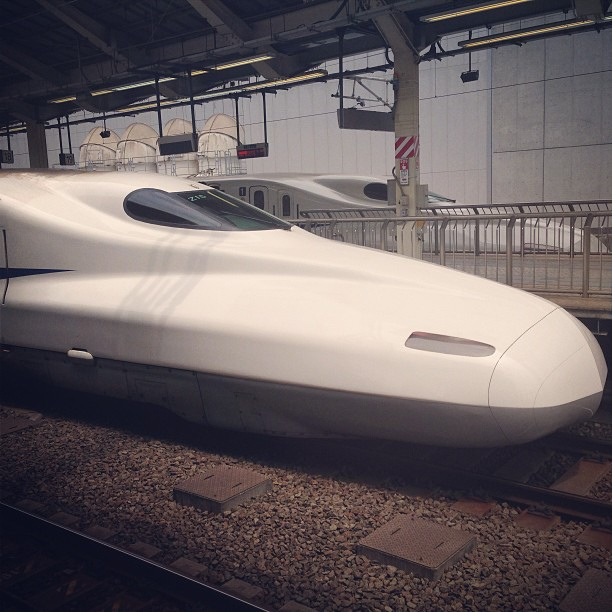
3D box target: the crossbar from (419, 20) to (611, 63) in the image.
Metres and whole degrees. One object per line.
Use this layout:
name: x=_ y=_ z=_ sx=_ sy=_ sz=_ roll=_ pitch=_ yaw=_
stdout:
crossbar: x=3.924 y=-4.850 z=11.403 sx=3.082 sy=0.255 sz=1.151 roll=5 pitch=13 yaw=35

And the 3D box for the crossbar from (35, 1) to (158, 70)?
crossbar: x=-4.266 y=-5.532 z=12.868 sx=0.831 sy=0.981 sz=2.470 roll=0 pitch=11 yaw=14

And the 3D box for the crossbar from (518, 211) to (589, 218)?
crossbar: x=2.587 y=-0.942 z=6.506 sx=0.662 sy=0.075 sz=0.765 roll=1 pitch=11 yaw=15

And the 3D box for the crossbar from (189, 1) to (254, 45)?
crossbar: x=-1.545 y=-5.179 z=11.351 sx=0.475 sy=0.549 sz=1.314 roll=3 pitch=12 yaw=29
